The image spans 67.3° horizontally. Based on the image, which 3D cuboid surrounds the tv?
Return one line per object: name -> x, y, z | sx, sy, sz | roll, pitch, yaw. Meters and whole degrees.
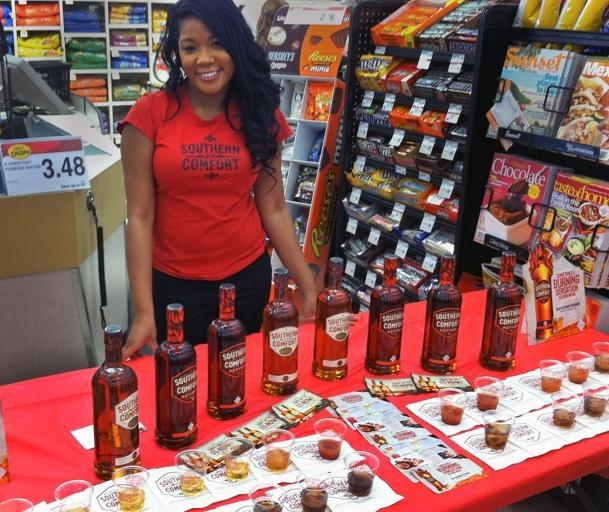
tv -> -1.790, -1.127, 3.044 | 0.297, 0.363, 0.580 | -4, 22, -12
